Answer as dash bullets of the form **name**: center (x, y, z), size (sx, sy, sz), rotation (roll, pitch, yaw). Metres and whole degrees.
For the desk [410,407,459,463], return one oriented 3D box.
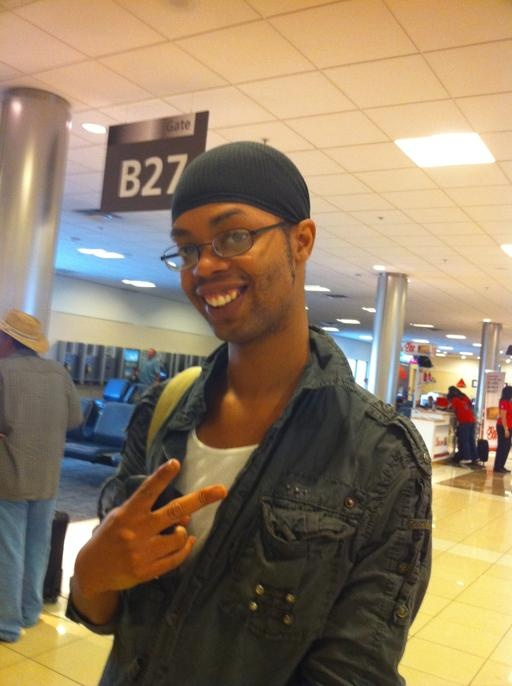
- **desk**: center (4.367, 2.354, 13.252), size (0.831, 1.290, 1.533), rotation (3, -1, 40)

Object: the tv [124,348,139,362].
- **tv**: center (-4.330, 0.413, 18.488), size (0.496, 0.389, 0.068), rotation (6, -12, -44)
